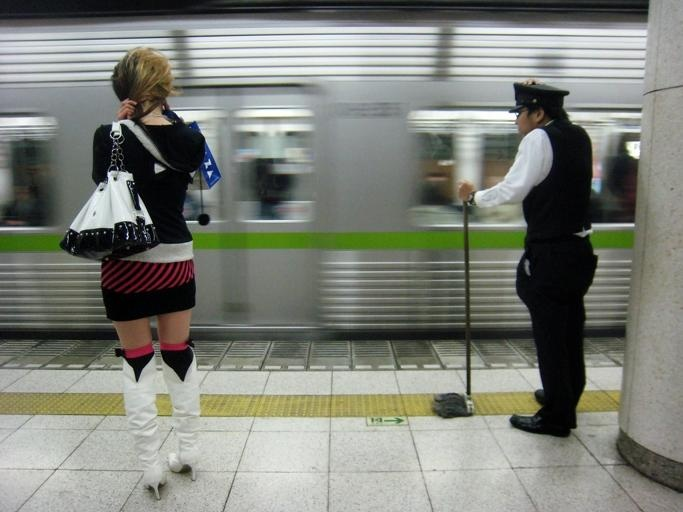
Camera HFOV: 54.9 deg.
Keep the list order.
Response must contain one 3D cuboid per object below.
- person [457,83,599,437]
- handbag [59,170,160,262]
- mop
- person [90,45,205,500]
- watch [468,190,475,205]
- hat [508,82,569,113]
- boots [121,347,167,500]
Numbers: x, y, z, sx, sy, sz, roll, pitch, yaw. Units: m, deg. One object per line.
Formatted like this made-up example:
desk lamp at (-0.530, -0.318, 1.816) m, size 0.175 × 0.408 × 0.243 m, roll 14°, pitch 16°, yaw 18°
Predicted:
person at (1.344, 0.027, 4.898) m, size 1.016 × 2.503 × 1.051 m, roll 5°, pitch 10°, yaw 40°
handbag at (-1.395, -0.269, 3.963) m, size 0.622 × 0.587 × 0.330 m, roll -9°, pitch -8°, yaw 36°
mop at (0.813, 0.495, 4.985) m, size 0.394 × 1.396 × 0.397 m, roll -4°, pitch 7°, yaw -8°
person at (-1.359, 0.091, 4.292) m, size 1.029 × 2.762 × 0.887 m, roll 5°, pitch 6°, yaw 37°
watch at (0.940, -0.417, 4.741) m, size 0.027 × 0.065 × 0.070 m, roll 8°, pitch -13°, yaw 2°
hat at (1.359, -1.105, 4.631) m, size 0.344 × 0.193 × 0.304 m, roll -1°, pitch 11°, yaw -20°
boots at (-1.235, 1.015, 4.129) m, size 0.220 × 0.966 × 0.369 m, roll -6°, pitch -1°, yaw -8°
